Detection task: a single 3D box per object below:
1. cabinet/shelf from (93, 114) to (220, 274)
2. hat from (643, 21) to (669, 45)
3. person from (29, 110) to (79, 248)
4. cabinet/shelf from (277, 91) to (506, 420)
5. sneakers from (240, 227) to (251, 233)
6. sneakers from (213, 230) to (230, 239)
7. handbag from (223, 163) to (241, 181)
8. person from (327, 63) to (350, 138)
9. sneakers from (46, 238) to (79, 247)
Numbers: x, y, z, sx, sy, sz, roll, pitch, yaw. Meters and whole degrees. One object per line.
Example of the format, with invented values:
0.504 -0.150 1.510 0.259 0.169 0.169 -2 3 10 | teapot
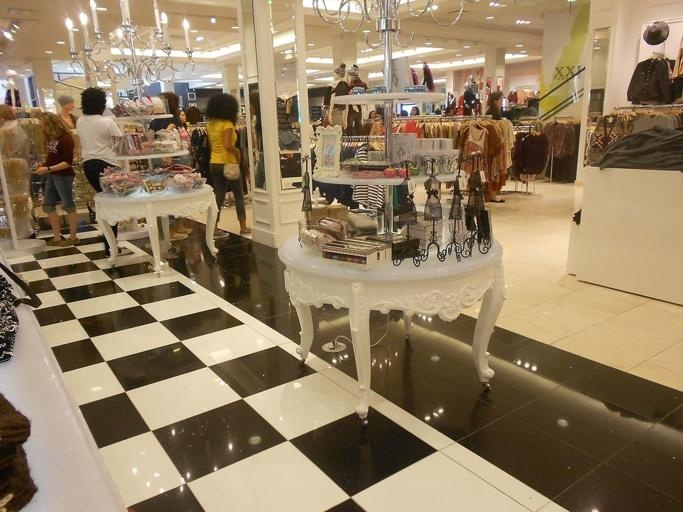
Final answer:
-1.889 -0.575 4.803 0.991 0.790 1.035 -14 20 -40 | cabinet/shelf
4.177 -2.979 6.201 0.247 0.286 0.344 -15 21 -36 | hat
-3.342 -0.899 5.506 0.399 1.578 0.458 5 12 1 | person
0.281 -0.107 2.801 1.259 1.803 1.248 8 16 36 | cabinet/shelf
-1.300 -0.352 6.365 0.073 0.055 0.137 -6 7 -34 | sneakers
-1.604 -0.260 6.253 0.090 0.127 0.296 4 19 8 | sneakers
-1.399 -1.087 5.960 0.079 0.209 0.184 14 17 41 | handbag
-0.054 -1.992 6.480 0.307 1.298 0.207 -8 19 -33 | person
-3.467 -0.168 5.799 0.367 0.147 0.144 -3 9 -43 | sneakers
